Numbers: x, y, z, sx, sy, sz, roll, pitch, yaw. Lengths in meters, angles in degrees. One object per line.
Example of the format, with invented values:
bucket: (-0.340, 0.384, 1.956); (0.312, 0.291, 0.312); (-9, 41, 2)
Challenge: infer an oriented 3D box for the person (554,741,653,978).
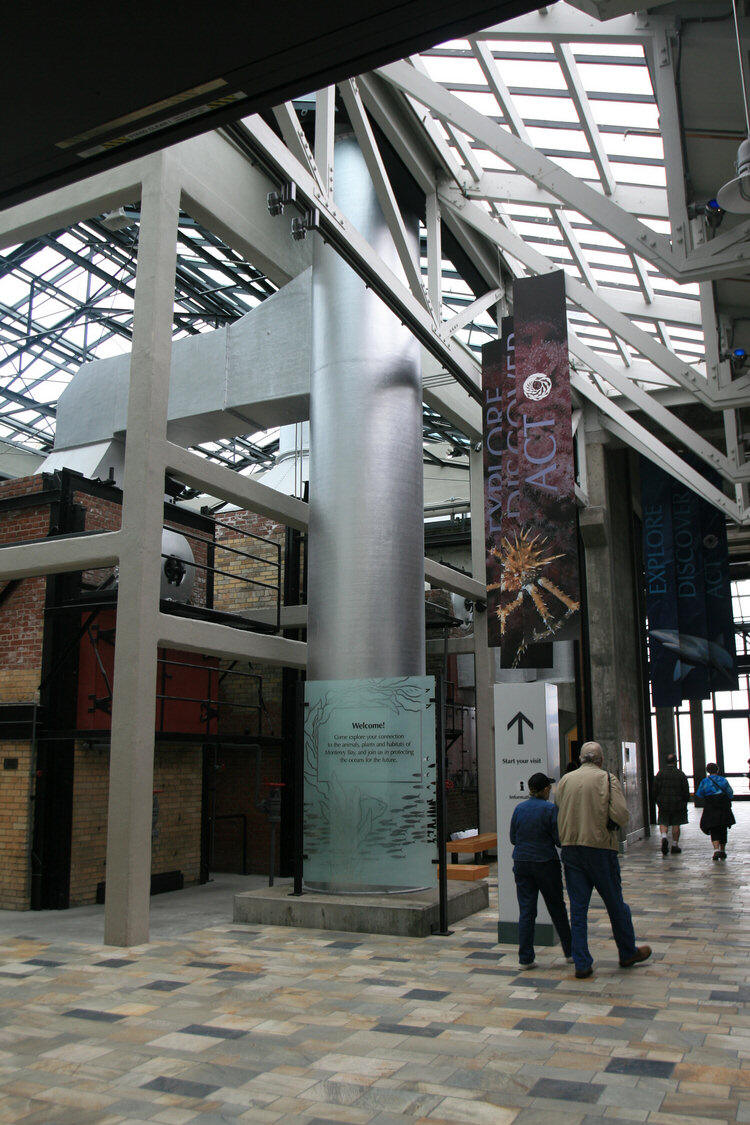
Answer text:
person: (1.641, 2.262, 6.463); (0.575, 1.504, 0.611); (0, -7, -2)

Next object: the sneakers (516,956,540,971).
sneakers: (1.164, 3.061, 6.788); (0.062, 0.080, 0.182); (0, -10, 27)

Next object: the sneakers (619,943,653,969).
sneakers: (2.005, 2.979, 6.751); (0.133, 0.153, 0.363); (-4, -1, 37)

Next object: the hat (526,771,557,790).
hat: (1.333, 1.760, 7.128); (0.148, 0.128, 0.233); (-4, 15, 32)

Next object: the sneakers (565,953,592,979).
sneakers: (1.473, 2.937, 6.437); (0.105, 0.212, 0.314); (-5, -6, 21)
